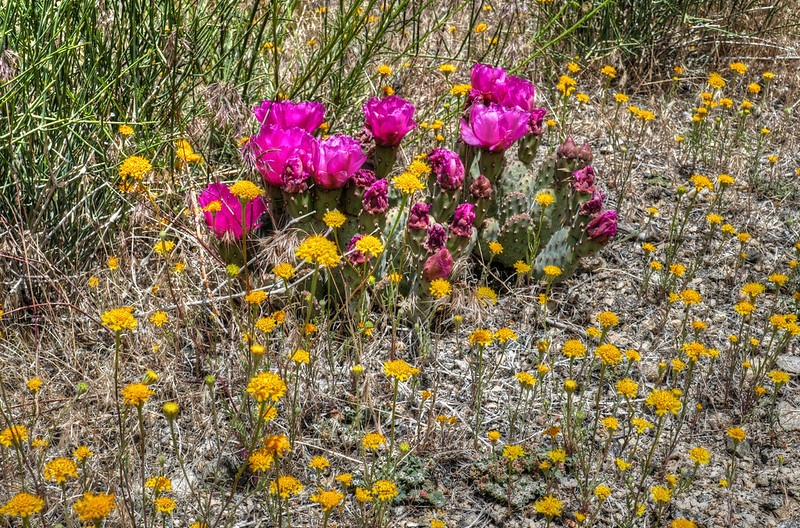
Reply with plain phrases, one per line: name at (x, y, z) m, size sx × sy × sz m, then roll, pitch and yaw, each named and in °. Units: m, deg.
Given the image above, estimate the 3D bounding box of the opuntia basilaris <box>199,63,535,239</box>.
opuntia basilaris at (-0.115, -0.509, 3.853) m, size 1.573 × 0.584 × 0.601 m, roll -8°, pitch 49°, yaw -23°

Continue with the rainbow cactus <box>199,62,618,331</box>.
rainbow cactus at (0.015, -0.282, 3.923) m, size 1.177 × 1.337 × 2.706 m, roll 3°, pitch 1°, yaw 2°
